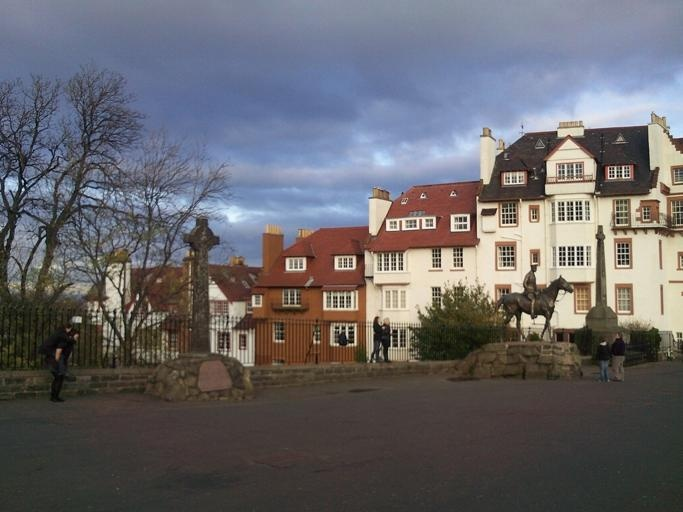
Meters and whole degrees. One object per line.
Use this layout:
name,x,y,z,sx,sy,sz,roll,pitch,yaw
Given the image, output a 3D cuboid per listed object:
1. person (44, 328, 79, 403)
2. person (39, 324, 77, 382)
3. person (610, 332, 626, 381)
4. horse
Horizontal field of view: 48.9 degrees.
person,-7.861,2.943,20.927,0.793,2.209,1.541,1,0,-13
person,-7.892,2.559,20.890,0.848,1.218,0.871,14,-2,-44
person,10.570,3.866,28.649,0.458,1.471,0.970,1,0,20
horse,7.827,2.156,30.473,3.094,2.546,0.779,-5,-3,30
